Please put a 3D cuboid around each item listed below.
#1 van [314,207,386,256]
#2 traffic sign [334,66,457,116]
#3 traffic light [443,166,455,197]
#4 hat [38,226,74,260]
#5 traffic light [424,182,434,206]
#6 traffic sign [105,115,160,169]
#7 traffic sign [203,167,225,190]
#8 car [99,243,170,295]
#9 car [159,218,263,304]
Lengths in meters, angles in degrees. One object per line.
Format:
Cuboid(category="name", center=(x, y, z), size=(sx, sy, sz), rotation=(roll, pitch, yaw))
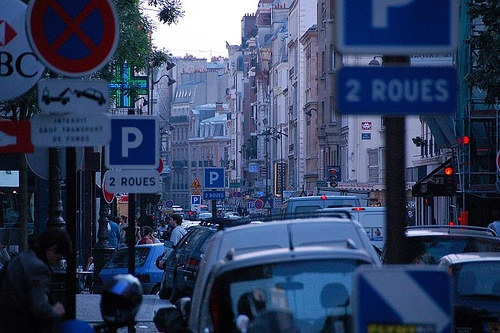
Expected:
Cuboid(category="van", center=(2.883, 1.651, 28.590), size=(1.270, 1.153, 2.023), rotation=(-1, -1, -1))
Cuboid(category="traffic sign", center=(1.944, -1.018, 15.126), size=(1.578, 0.639, 0.151), rotation=(-1, -4, -4))
Cuboid(category="traffic light", center=(6.205, 0.380, 35.625), size=(0.341, 0.856, 0.595), rotation=(-2, -4, 10))
Cuboid(category="hat", center=(-2.909, 1.096, 17.241), size=(0.450, 0.474, 0.368), rotation=(2, -1, -26))
Cuboid(category="traffic light", center=(5.723, 0.784, 36.559), size=(0.326, 0.869, 1.226), rotation=(-2, -4, 9))
Cuboid(category="traffic sign", center=(-2.131, -0.468, 20.966), size=(0.916, 0.930, 0.093), rotation=(0, 2, -1))
Cuboid(category="traffic sign", center=(-1.197, 0.336, 39.839), size=(0.954, 0.941, 0.094), rotation=(-1, 5, -5))
Cuboid(category="car", center=(-2.665, 2.371, 27.663), size=(1.794, 0.999, 1.085), rotation=(0, 0, 9))
Cuboid(category="car", center=(-1.164, 1.898, 24.184), size=(1.165, 1.112, 2.566), rotation=(0, 1, -10))
